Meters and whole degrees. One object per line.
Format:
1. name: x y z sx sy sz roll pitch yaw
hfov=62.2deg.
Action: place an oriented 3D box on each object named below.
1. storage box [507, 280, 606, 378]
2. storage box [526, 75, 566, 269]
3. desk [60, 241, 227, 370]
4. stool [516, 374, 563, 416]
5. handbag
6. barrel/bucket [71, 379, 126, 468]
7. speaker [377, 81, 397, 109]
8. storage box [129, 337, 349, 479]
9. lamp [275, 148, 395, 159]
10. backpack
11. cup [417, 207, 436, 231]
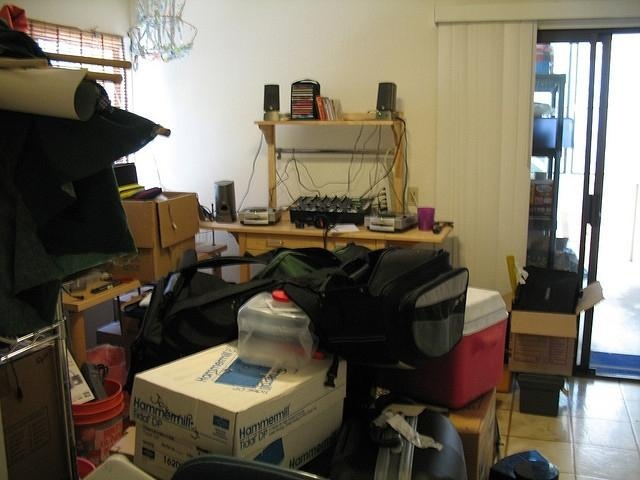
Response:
1. storage box: 1.455 0.568 3.499 0.608 0.660 0.397 4 5 17
2. storage box: 1.597 -0.474 3.712 0.234 1.335 0.113 1 13 8
3. desk: -0.781 0.285 2.289 0.278 0.384 0.574 6 19 17
4. stool: 1.314 0.928 3.187 0.273 0.243 0.233 0 0 20
5. handbag: 0.190 0.206 1.659 0.456 0.238 0.378 1 17 34
6. barrel/bucket: -0.966 0.814 2.338 0.164 0.257 0.211 4 14 21
7. speaker: 0.479 -0.983 3.659 0.193 0.196 0.109 -14 19 -43
8. storage box: -0.246 0.465 1.515 0.332 0.245 0.452 4 9 28
9. lamp: 0.070 -0.656 4.039 0.850 0.083 0.025 2 14 15
10. backpack: -0.371 0.297 2.074 0.535 0.569 0.403 2 0 15
11. cup: 0.693 -0.151 3.591 0.130 0.159 0.134 -1 18 0
